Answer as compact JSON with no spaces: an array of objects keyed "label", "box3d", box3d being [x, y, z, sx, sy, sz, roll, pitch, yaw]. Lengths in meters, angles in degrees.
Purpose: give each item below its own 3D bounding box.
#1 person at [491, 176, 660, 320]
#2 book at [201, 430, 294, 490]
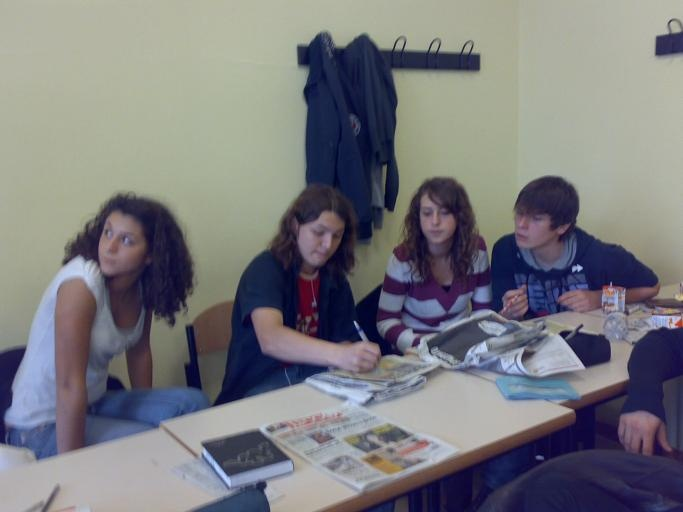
[{"label":"person","box3d":[1.083,0.083,2.755,0.697,0.841,0.471,4,5,19]},{"label":"book","box3d":[-0.246,0.526,1.519,0.219,0.046,0.231,4,10,-17]}]
